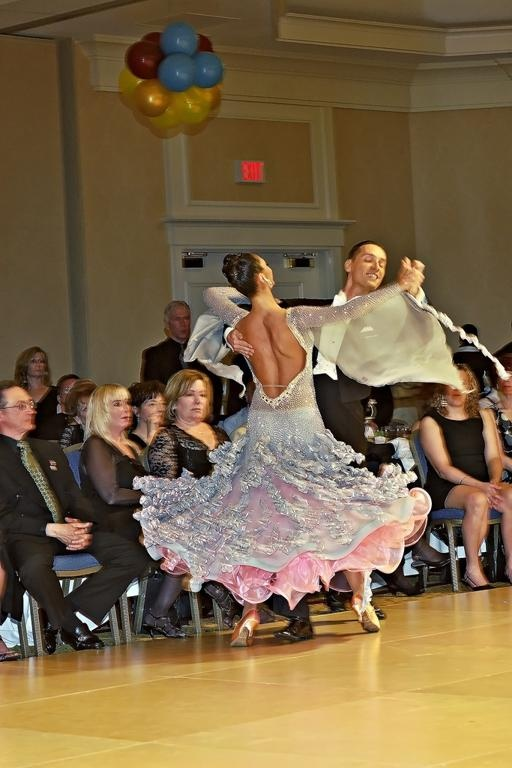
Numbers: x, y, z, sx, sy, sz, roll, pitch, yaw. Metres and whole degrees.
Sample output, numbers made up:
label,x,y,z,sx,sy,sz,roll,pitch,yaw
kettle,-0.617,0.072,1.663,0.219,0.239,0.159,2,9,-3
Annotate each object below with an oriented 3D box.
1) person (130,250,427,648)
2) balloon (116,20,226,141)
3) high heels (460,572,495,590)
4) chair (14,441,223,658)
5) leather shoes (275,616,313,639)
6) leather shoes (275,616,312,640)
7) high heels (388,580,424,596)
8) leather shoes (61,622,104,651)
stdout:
label,x,y,z,sx,sy,sz,roll,pitch,yaw
person,0.060,0.120,2.425,1.089,0.913,0.495,-4,-2,11
balloon,-0.544,-2.209,4.862,0.652,0.694,0.641,-2,-3,-43
high heels,1.193,1.082,3.741,0.080,0.047,0.193,-2,-1,-38
chair,-0.813,0.835,3.287,0.806,1.187,0.927,9,-22,-37
leather shoes,0.152,0.932,2.633,0.147,0.089,0.065,3,-6,7
leather shoes,0.152,0.930,2.634,0.146,0.088,0.064,3,-6,7
high heels,0.834,1.154,3.896,0.232,0.090,0.075,-6,-7,15
leather shoes,-0.682,0.990,2.744,0.220,0.084,0.081,3,0,28
